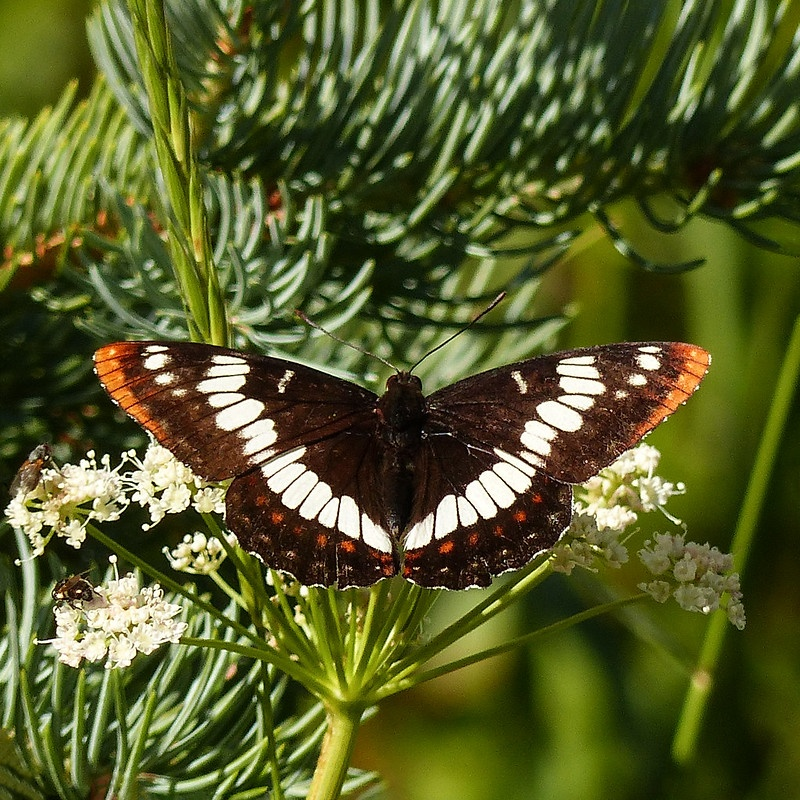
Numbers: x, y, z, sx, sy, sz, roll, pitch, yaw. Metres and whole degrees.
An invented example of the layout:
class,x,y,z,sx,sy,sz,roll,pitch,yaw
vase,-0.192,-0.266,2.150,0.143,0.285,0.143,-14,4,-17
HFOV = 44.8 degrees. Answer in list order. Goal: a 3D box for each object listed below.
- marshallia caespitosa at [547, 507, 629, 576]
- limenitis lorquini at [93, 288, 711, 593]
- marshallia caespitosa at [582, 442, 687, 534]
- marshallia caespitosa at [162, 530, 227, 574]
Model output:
class,x,y,z,sx,sy,sz,roll,pitch,yaw
marshallia caespitosa,0.195,0.137,0.991,0.053,0.071,0.080,-2,14,-21
limenitis lorquini,-0.024,0.046,1.053,0.604,0.349,0.087,4,5,2
marshallia caespitosa,0.235,0.095,1.016,0.095,0.101,0.024,-2,-5,33
marshallia caespitosa,-0.216,0.158,1.010,0.054,0.057,0.022,4,13,0
